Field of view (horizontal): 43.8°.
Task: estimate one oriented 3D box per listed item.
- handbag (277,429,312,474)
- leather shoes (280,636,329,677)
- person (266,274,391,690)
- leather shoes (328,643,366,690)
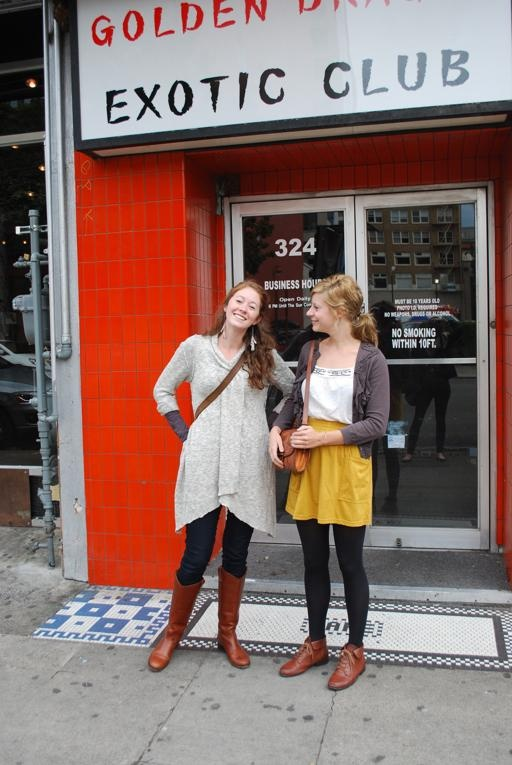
[{"bbox_3d":[0.143,0.272,2.557,0.135,0.153,0.089,-1,5,31],"label":"handbag"},{"bbox_3d":[0.219,1.183,2.794,0.257,0.130,0.099,-3,4,-32],"label":"leather shoes"},{"bbox_3d":[0.309,0.412,2.661,0.502,1.713,0.378,-3,4,11],"label":"person"},{"bbox_3d":[0.398,1.183,2.648,0.080,0.115,0.240,0,-5,29],"label":"leather shoes"}]
